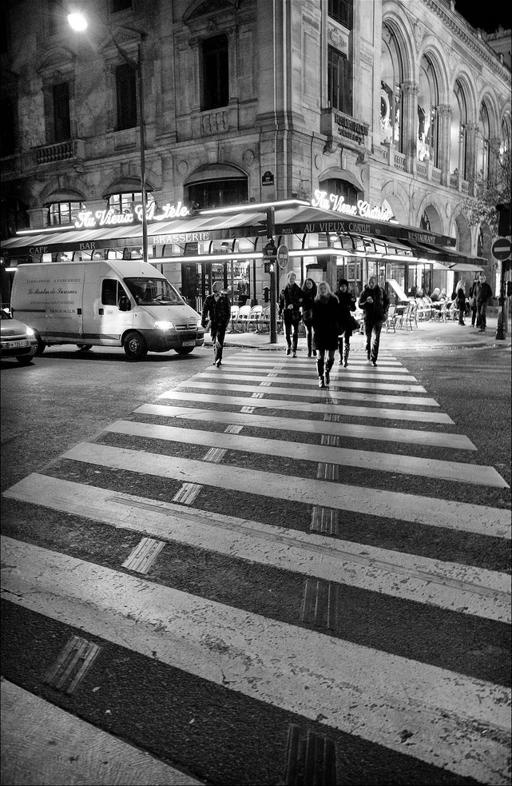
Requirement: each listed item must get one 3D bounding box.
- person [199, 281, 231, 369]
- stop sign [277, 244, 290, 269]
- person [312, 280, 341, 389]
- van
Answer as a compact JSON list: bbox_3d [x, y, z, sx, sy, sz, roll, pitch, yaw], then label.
[{"bbox_3d":[-0.924,-1.506,15.741,0.568,1.807,2.715,-1,7,-4],"label":"person"},{"bbox_3d":[0.820,-4.337,21.861,0.321,0.638,0.375,-1,5,-5],"label":"stop sign"},{"bbox_3d":[1.300,-1.088,12.666,0.511,1.836,1.523,0,5,6],"label":"person"},{"bbox_3d":[-4.178,-2.225,18.555,5.379,2.607,1.354,2,5,22],"label":"van"}]
